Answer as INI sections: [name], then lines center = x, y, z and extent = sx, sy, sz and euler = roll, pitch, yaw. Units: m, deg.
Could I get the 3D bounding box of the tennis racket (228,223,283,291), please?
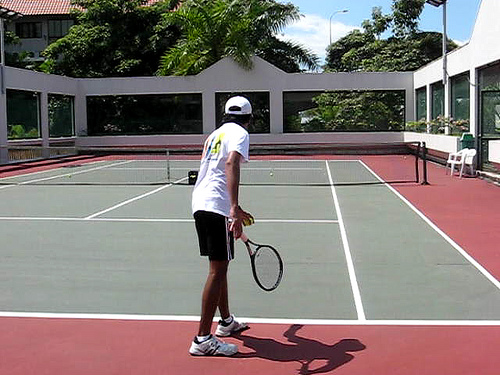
[tennis racket]
center = 0.130, 0.696, 5.137
extent = 0.365, 0.649, 0.759
euler = 0, 8, 5

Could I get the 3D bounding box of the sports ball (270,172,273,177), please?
[sports ball]
center = 0.762, -0.480, 18.517
extent = 0.094, 0.112, 0.097
euler = -7, 12, 2

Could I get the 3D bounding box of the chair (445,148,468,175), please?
[chair]
center = 6.675, -0.901, 16.618
extent = 0.684, 1.079, 0.729
euler = -2, 11, -1

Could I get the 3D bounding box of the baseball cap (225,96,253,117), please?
[baseball cap]
center = -0.112, -0.784, 4.914
extent = 0.231, 0.163, 0.218
euler = 0, 8, 6

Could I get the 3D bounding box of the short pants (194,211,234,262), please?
[short pants]
center = -0.324, 0.432, 4.682
extent = 0.351, 0.458, 0.230
euler = -2, 8, -8
